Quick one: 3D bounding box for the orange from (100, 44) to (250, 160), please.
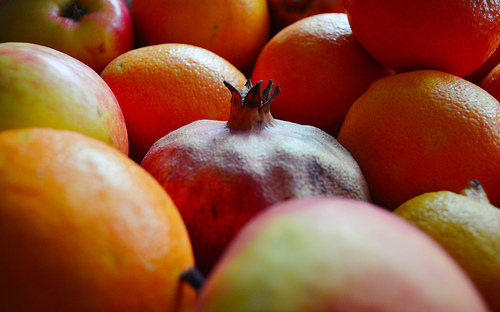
[{"bbox_3d":[-0.131,-0.103,0.918,0.208,0.268,0.195,5,11,-4],"label":"orange"}]
